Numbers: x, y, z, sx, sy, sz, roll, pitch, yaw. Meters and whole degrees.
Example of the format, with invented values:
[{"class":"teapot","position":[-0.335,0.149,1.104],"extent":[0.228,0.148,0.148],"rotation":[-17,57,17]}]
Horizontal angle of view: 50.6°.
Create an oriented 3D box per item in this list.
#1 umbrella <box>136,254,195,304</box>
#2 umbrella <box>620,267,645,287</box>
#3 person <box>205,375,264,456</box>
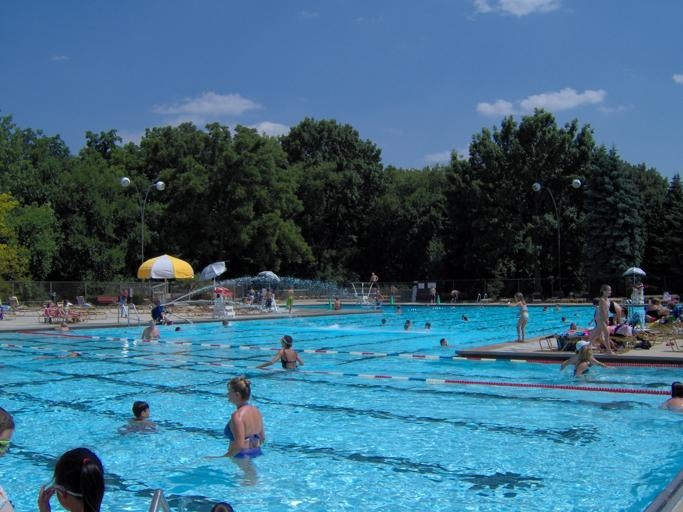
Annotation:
[{"class":"umbrella","position":[-8.424,0.946,34.424],"extent":[2.411,2.603,2.726],"rotation":[1,-3,-6]},{"class":"umbrella","position":[17.804,1.321,44.286],"extent":[1.077,1.248,1.171],"rotation":[0,-7,1]},{"class":"person","position":[-1.559,2.616,11.632],"extent":[0.621,1.421,0.627],"rotation":[-1,3,-11]}]
